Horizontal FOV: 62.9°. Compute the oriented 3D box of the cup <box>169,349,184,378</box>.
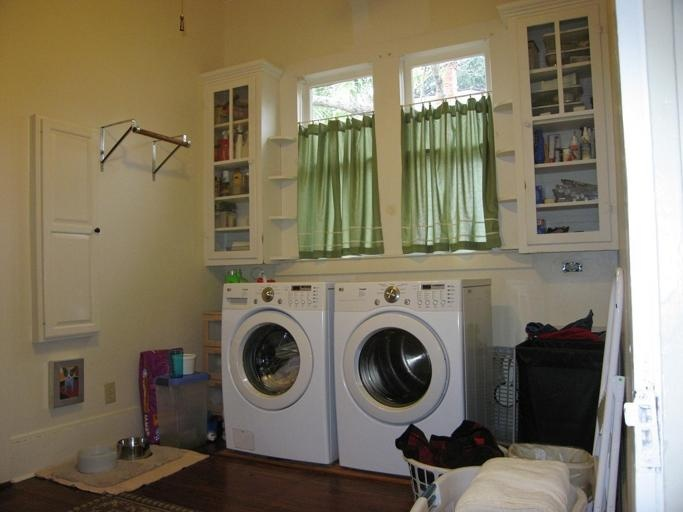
[{"bbox_3d":[-1.156,0.760,3.915,0.090,0.156,0.238,-3,6,-17],"label":"cup"}]

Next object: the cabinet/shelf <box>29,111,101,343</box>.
[{"bbox_3d":[-1.730,-0.172,3.640,0.424,1.449,0.125,1,2,4],"label":"cabinet/shelf"}]

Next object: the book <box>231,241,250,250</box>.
[{"bbox_3d":[-0.794,-0.077,4.432,0.208,0.074,0.060,3,7,37],"label":"book"}]

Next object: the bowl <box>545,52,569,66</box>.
[{"bbox_3d":[1.373,-1.240,3.548,0.105,0.048,0.074,1,5,30],"label":"bowl"}]

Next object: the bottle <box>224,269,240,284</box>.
[{"bbox_3d":[-0.858,0.168,4.452,0.115,0.124,0.119,3,-4,-30],"label":"bottle"}]

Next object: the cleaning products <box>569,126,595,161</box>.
[{"bbox_3d":[1.523,-0.713,3.522,0.140,0.212,0.074,1,6,26],"label":"cleaning products"}]

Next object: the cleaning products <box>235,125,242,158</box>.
[{"bbox_3d":[-0.818,-0.911,4.440,0.055,0.255,0.052,-1,5,3],"label":"cleaning products"}]

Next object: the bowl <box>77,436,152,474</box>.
[{"bbox_3d":[-1.435,1.252,3.509,0.285,0.072,0.165,-3,1,-39],"label":"bowl"}]

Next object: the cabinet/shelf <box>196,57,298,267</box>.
[{"bbox_3d":[-0.718,-0.714,4.567,0.830,1.625,0.369,-3,-5,20],"label":"cabinet/shelf"}]

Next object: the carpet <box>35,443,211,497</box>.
[{"bbox_3d":[-1.347,1.310,3.506,0.686,0.061,0.825,3,8,37],"label":"carpet"}]

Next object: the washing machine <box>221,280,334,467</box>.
[{"bbox_3d":[-0.355,0.692,3.771,0.711,1.074,0.555,0,3,20],"label":"washing machine"}]

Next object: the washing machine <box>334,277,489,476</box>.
[{"bbox_3d":[0.485,0.702,3.560,0.834,1.234,0.839,-2,3,25],"label":"washing machine"}]
